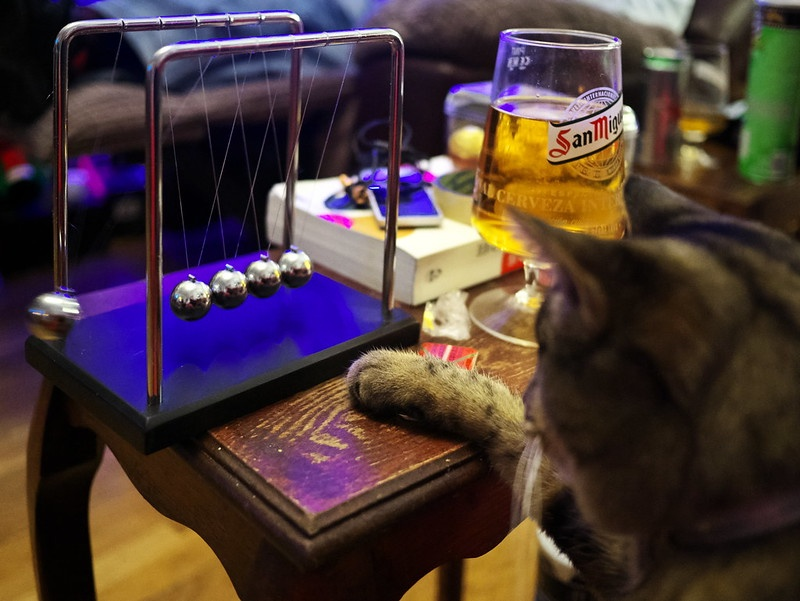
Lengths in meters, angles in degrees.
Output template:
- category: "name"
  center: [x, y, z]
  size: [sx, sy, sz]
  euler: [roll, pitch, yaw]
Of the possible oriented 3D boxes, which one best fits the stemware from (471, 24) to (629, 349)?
- category: "stemware"
  center: [0.151, -0.121, 0.715]
  size: [0.148, 0.293, 0.149]
  euler: [3, 25, 9]
